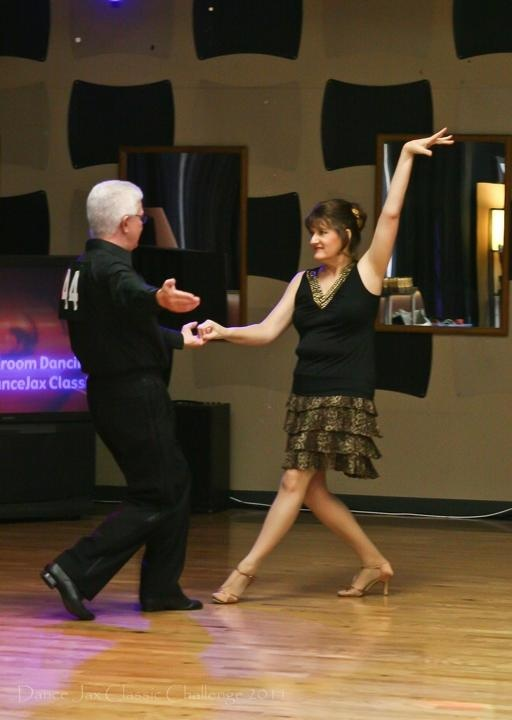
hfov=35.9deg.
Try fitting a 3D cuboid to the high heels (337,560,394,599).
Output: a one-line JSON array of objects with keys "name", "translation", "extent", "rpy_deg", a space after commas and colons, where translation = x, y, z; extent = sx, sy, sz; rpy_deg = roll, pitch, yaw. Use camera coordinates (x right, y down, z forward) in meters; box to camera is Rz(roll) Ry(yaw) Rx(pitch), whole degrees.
[{"name": "high heels", "translation": [0.338, 0.785, 2.834], "extent": [0.274, 0.135, 0.090], "rpy_deg": [-2, -7, -3]}]

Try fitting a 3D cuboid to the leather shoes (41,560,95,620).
[{"name": "leather shoes", "translation": [-0.572, 0.709, 2.411], "extent": [0.106, 0.209, 0.131], "rpy_deg": [6, 7, 34]}]

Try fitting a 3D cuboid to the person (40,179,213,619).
[{"name": "person", "translation": [-0.387, 0.138, 2.334], "extent": [0.481, 1.356, 0.495], "rpy_deg": [1, 6, -4]}]

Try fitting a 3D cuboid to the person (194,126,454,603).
[{"name": "person", "translation": [0.250, 0.038, 2.742], "extent": [0.741, 1.647, 0.416], "rpy_deg": [2, 6, 3]}]
